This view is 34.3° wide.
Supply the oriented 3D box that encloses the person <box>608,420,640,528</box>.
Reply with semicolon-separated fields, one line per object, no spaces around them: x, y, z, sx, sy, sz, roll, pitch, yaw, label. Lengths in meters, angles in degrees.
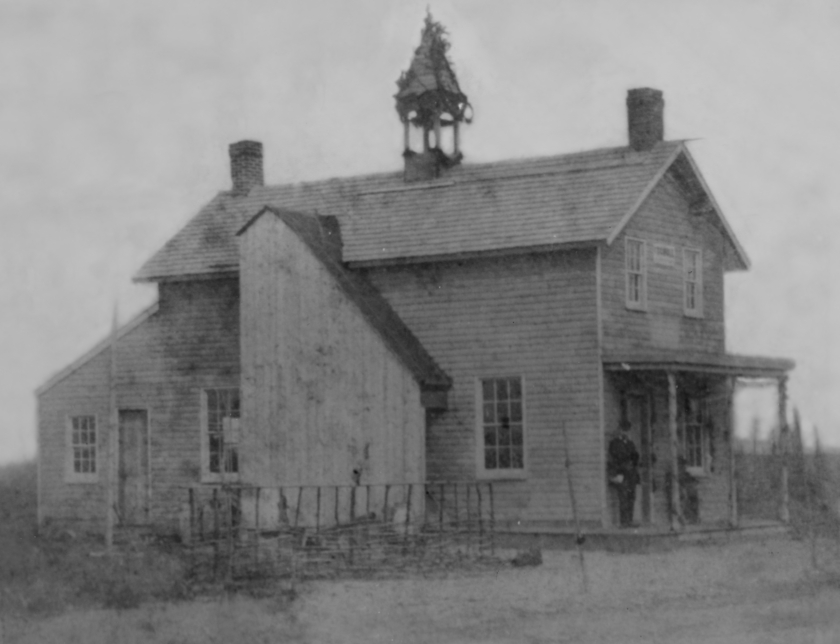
3.729;2.787;25.002;0.485;1.779;0.791;-7;-15;20;person
